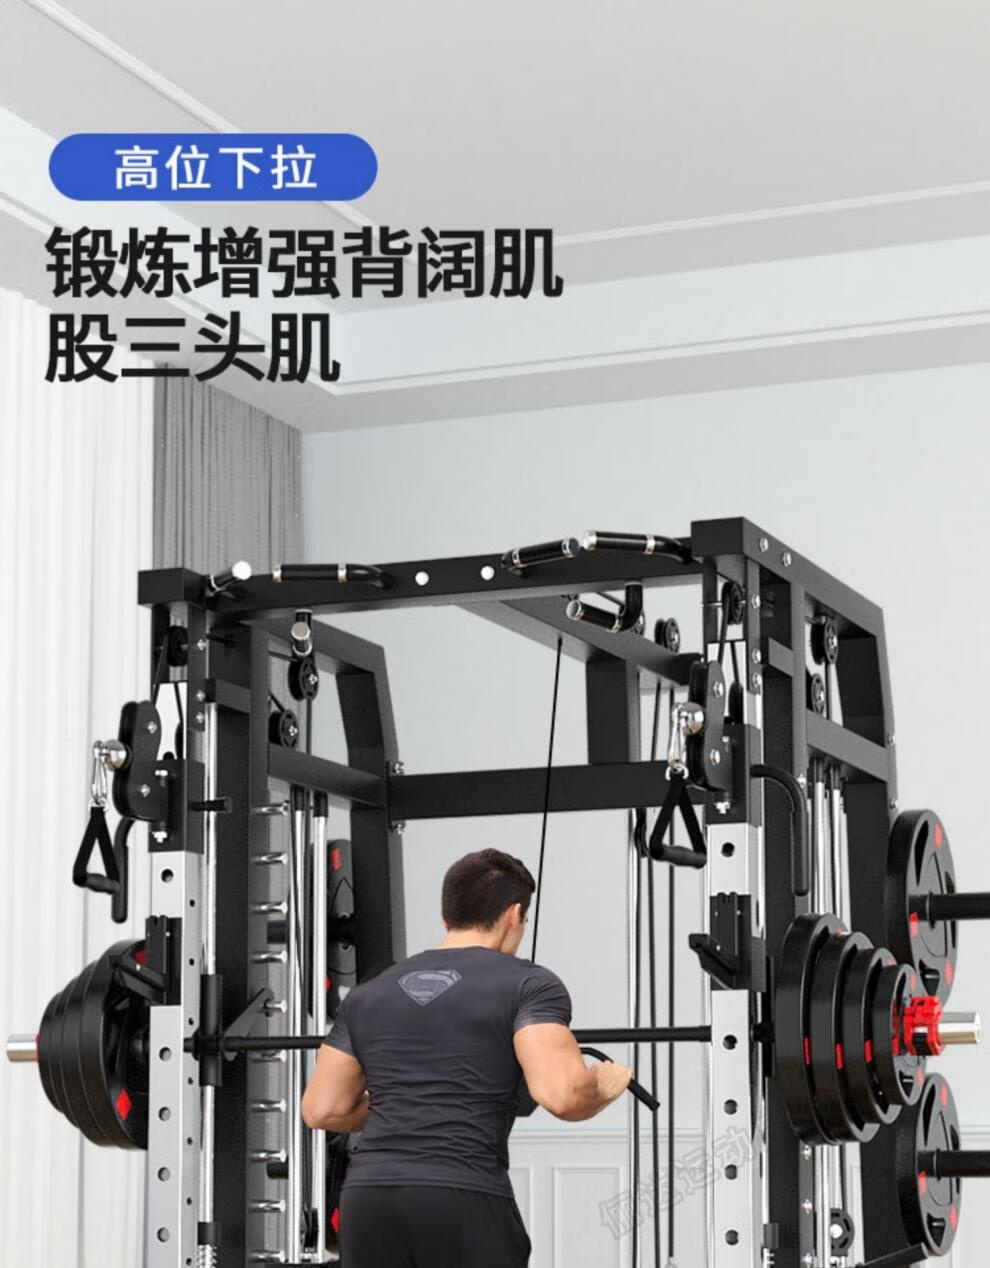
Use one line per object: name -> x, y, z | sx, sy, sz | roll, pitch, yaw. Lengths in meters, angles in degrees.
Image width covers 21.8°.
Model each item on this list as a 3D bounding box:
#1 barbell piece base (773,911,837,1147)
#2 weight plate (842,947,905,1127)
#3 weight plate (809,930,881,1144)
barbell piece base -> 0.617, 0.784, 5.105 | 0.108, 0.442, 0.239 | 1, -3, 12
weight plate -> 0.737, 0.796, 5.061 | 0.065, 0.284, 0.249 | -1, -15, 16
weight plate -> 0.670, 0.798, 5.040 | 0.078, 0.307, 0.326 | 0, -54, 14
